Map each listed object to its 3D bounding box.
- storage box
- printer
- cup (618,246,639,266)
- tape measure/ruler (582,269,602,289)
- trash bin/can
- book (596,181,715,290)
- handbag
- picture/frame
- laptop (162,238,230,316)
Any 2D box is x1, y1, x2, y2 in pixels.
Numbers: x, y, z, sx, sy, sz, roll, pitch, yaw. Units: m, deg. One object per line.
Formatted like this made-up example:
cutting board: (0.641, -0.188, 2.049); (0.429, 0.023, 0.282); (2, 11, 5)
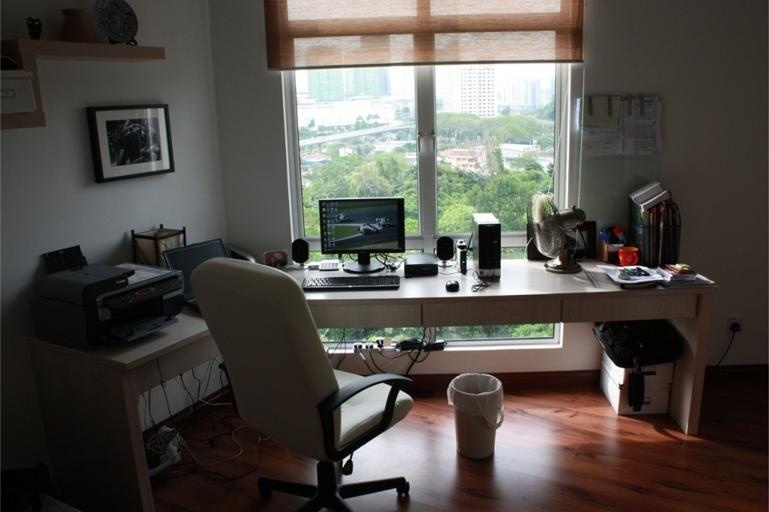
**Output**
storage box: (1.810, 0.911, 4.192); (0.348, 0.403, 0.573); (1, 14, 6)
printer: (-1.619, 0.238, 3.388); (0.637, 0.462, 0.620); (7, 13, 17)
cup: (1.702, -0.008, 4.094); (0.142, 0.125, 0.112); (11, 14, 38)
tape measure/ruler: (1.398, 0.155, 3.893); (0.053, 0.022, 0.261); (-1, 14, 9)
trash bin/can: (0.554, 1.002, 3.881); (0.465, 0.515, 0.477); (-3, 11, -2)
book: (1.858, -0.148, 4.097); (0.712, 0.769, 0.800); (0, 11, 9)
handbag: (1.770, 0.591, 3.961); (0.356, 0.130, 0.359); (-3, 24, 1)
picture/frame: (-1.678, -0.740, 3.740); (0.041, 0.437, 0.528); (5, 13, 33)
laptop: (-1.293, 0.158, 4.014); (0.441, 0.308, 0.504); (21, 30, 34)
